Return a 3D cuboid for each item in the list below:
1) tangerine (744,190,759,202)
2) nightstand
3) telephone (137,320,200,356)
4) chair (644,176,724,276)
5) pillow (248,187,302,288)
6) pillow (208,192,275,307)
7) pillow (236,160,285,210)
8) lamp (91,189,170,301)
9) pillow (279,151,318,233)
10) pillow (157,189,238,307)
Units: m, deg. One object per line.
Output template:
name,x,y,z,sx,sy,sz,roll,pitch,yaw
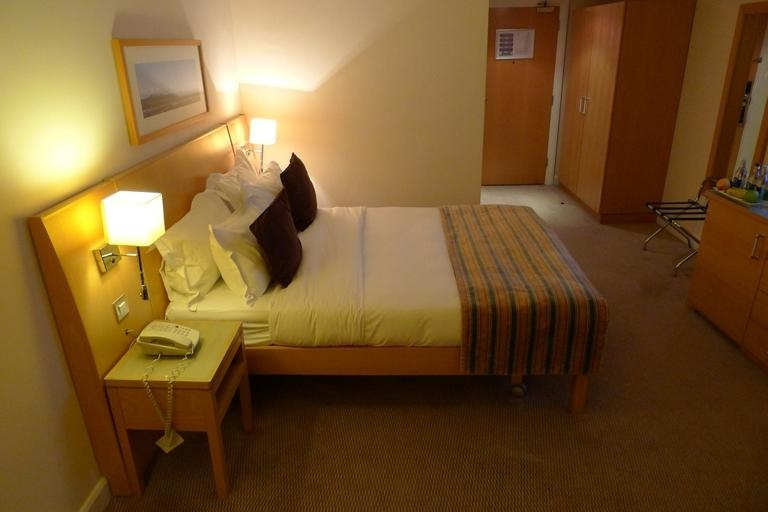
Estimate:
tangerine,2.891,-0.467,4.141,0.094,0.090,0.097,6,26,20
nightstand,-1.237,0.950,3.318,0.671,0.869,0.605,-2,24,3
telephone,-1.289,0.483,3.148,0.267,0.109,0.209,0,34,-3
chair,3.149,-0.452,5.560,0.480,0.680,0.682,-2,5,42
pillow,-0.782,-0.108,3.711,0.205,0.444,0.607,-5,33,12
pillow,-0.990,-0.067,3.740,0.237,0.470,0.654,14,31,32
pillow,-0.985,-0.546,4.179,0.205,0.115,0.632,23,29,-12
lamp,-1.513,-0.039,3.199,0.357,0.626,0.302,5,18,13
pillow,-0.758,-0.481,4.802,0.304,0.584,0.856,1,-1,5
pillow,-1.416,0.013,3.928,0.349,0.521,0.926,-25,4,-22
